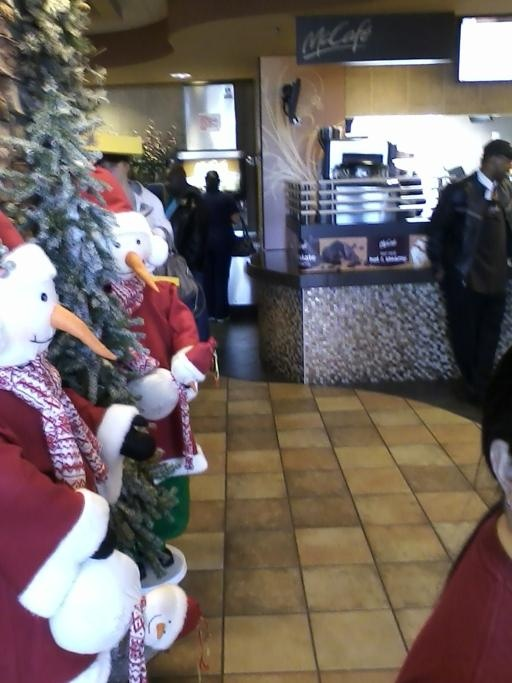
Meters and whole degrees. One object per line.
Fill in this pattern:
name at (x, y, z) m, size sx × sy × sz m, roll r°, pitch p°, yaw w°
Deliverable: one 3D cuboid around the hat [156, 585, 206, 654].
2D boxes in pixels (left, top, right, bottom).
hat at (-0.174, 0.715, 1.331) m, size 0.120 × 0.093 × 0.161 m, roll -6°, pitch 45°, yaw 19°
